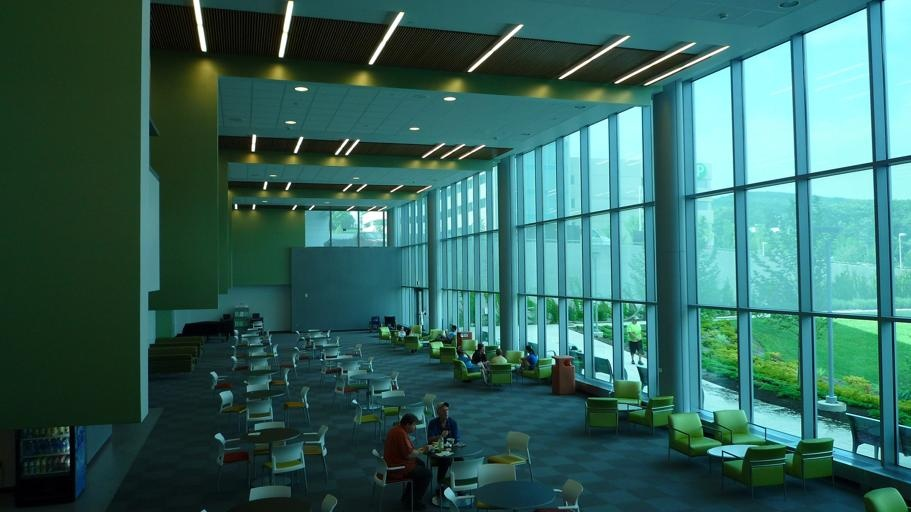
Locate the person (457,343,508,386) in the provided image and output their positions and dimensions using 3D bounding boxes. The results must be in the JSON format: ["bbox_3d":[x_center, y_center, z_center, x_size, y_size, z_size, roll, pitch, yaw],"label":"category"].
[{"bbox_3d":[0.964,3.614,21.153,1.742,0.613,1.199,0,1,15],"label":"person"}]

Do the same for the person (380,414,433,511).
[{"bbox_3d":[-0.980,4.160,13.167,0.915,1.864,0.699,-2,-4,-7],"label":"person"}]

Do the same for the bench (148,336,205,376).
[{"bbox_3d":[-10.793,3.919,25.227,1.775,1.119,3.653,0,-4,-24],"label":"bench"}]
